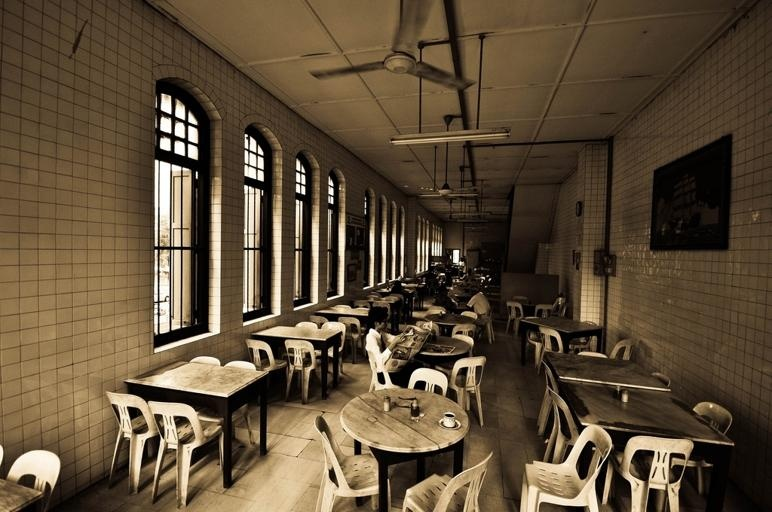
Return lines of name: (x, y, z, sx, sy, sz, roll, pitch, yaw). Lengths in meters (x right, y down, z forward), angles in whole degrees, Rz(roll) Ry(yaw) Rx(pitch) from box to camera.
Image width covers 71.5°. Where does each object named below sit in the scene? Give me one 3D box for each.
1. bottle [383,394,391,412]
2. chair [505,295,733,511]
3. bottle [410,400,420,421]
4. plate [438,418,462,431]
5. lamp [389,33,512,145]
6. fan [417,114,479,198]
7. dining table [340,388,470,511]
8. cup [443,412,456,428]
bottle: (0.010, 1.805, 6.528, 0.139, 0.212, 0.144, 0, -1, 0)
chair: (3.160, 2.275, 6.879, 2.190, 1.922, 1.826, 0, -1, 42)
bottle: (0.324, 1.880, 6.478, 0.144, 0.162, 0.147, -1, -3, -2)
plate: (0.752, 1.956, 6.302, 0.255, 0.105, 0.136, 0, -1, 5)
lamp: (0.983, -2.109, 7.991, 1.554, 1.656, 1.494, 1, -1, 12)
fan: (1.259, -1.852, 10.586, 1.238, 2.340, 1.191, 2, -5, -5)
dining table: (0.236, 2.016, 6.407, 1.371, 1.110, 1.407, -6, 12, -35)
cup: (0.735, 1.939, 6.320, 0.114, 0.114, 0.143, -1, 2, -28)
